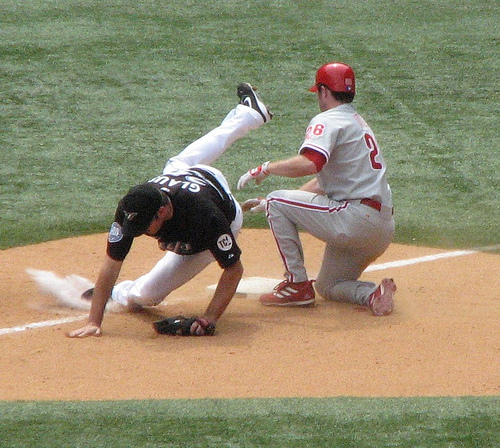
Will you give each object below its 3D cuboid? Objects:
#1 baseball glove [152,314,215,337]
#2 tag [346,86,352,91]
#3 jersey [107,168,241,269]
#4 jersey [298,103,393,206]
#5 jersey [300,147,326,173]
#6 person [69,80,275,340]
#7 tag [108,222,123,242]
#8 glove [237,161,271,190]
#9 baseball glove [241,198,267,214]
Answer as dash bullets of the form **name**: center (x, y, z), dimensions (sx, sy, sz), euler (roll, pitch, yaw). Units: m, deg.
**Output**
- **baseball glove**: center (-0.476, 0.665, 5.725), dimensions (0.296, 0.081, 0.167), euler (1, 2, 8)
- **tag**: center (0.685, -0.945, 6.054), dimensions (0.050, 0.025, 0.010), euler (4, 1, -8)
- **jersey**: center (-0.386, -0.027, 5.762), dimensions (0.631, 0.575, 0.558), euler (5, 16, -7)
- **jersey**: center (0.685, -0.481, 5.994), dimensions (0.676, 0.657, 0.390), euler (8, 17, 4)
- **jersey**: center (0.424, -0.431, 5.877), dimensions (0.125, 0.118, 0.164), euler (30, -28, -27)
- **person**: center (-0.380, -0.160, 6.209), dimensions (1.287, 0.978, 2.292), euler (8, 39, 16)
- **tag**: center (-0.834, 0.049, 5.529), dimensions (0.117, 0.110, 0.032), euler (17, 5, 39)
- **glove**: center (0.025, -0.350, 6.265), dimensions (0.198, 0.244, 0.407), euler (6, 15, -4)
- **baseball glove**: center (0.022, -0.149, 6.800), dimensions (0.242, 0.101, 0.125), euler (-3, 33, 34)
